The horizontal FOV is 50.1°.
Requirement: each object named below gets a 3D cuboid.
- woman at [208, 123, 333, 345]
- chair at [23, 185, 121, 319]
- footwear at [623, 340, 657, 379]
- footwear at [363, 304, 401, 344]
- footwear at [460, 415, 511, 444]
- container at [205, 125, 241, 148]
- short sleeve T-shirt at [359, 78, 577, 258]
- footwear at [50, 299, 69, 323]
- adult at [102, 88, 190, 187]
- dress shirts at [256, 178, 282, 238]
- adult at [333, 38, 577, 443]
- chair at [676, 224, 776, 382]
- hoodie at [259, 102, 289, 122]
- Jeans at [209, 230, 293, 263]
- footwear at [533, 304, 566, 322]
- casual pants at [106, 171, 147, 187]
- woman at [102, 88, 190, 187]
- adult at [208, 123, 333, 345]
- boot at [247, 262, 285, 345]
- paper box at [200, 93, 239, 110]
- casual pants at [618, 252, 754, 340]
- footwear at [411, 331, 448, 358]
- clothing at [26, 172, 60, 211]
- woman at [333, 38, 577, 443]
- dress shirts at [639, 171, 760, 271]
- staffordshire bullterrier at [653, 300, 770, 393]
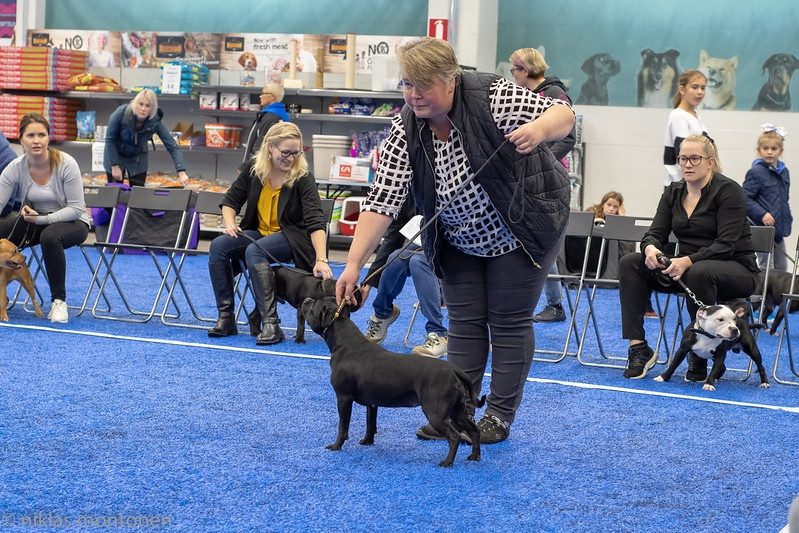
[{"bbox_3d":[-0.946,-0.297,6.746,1.078,1.563,1.034,7,12,15],"label":"woman"},{"bbox_3d":[-2.890,-0.141,7.455,0.820,1.166,0.890,10,8,44],"label":"chair"},{"bbox_3d":[1.738,0.667,6.188,0.136,0.184,0.389,-8,16,41],"label":"footwear"},{"bbox_3d":[-0.200,0.476,6.796,0.148,0.402,0.186,38,16,22],"label":"footwear"},{"bbox_3d":[0.480,0.905,4.756,0.119,0.135,0.308,1,-4,39],"label":"footwear"},{"bbox_3d":[-2.535,-1.868,12.184,0.389,0.231,0.383,0,-2,5],"label":"container"},{"bbox_3d":[0.324,-0.512,4.414,1.094,0.980,0.344,4,8,10],"label":"short sleeve T-shirt"},{"bbox_3d":[-2.822,0.362,7.044,0.144,0.177,0.227,-1,9,-24],"label":"footwear"},{"bbox_3d":[-3.168,-1.577,10.434,0.815,1.131,0.655,6,9,24],"label":"adult"},{"bbox_3d":[-1.053,-0.544,6.741,0.131,0.231,0.171,17,-33,-5],"label":"dress shirts"},{"bbox_3d":[0.388,-0.112,4.554,1.252,2.108,1.290,0,1,21],"label":"adult"},{"bbox_3d":[2.530,0.177,6.552,0.732,0.945,0.540,-15,9,-11],"label":"chair"},{"bbox_3d":[-1.350,-1.717,9.381,0.251,0.212,0.491,-1,8,-21],"label":"hoodie"},{"bbox_3d":[-1.166,-0.155,6.633,0.405,0.115,0.343,1,-6,27],"label":"Jeans"},{"bbox_3d":[1.404,0.438,7.905,0.329,0.142,0.125,0,-2,-31],"label":"footwear"},{"bbox_3d":[-3.322,-1.066,10.319,0.493,0.176,0.497,-2,-1,8],"label":"casual pants"},{"bbox_3d":[-3.126,-1.570,10.394,0.909,1.131,0.635,-1,8,-19],"label":"woman"},{"bbox_3d":[-0.934,-0.310,6.758,1.092,1.591,1.014,7,12,14],"label":"adult"},{"bbox_3d":[-1.037,0.278,6.631,0.267,0.653,0.192,1,8,-9],"label":"boot"},{"bbox_3d":[-2.583,-2.341,12.103,0.596,0.245,0.179,5,8,20],"label":"paper box"},{"bbox_3d":[2.030,0.137,6.111,0.851,0.764,0.673,-1,-2,9],"label":"casual pants"},{"bbox_3d":[0.237,0.599,6.400,0.141,0.145,0.334,1,-5,35],"label":"footwear"},{"bbox_3d":[-3.014,-0.588,7.177,0.264,0.316,0.190,-2,6,-27],"label":"clothing"},{"bbox_3d":[0.356,-0.107,4.549,1.259,2.038,1.231,-2,-3,14],"label":"woman"},{"bbox_3d":[2.311,-0.310,6.401,0.651,0.641,0.825,-1,-5,44],"label":"dress shirts"},{"bbox_3d":[2.219,0.520,5.964,0.418,0.420,1.000,-3,-13,34],"label":"staffordshire bullterrier"}]
